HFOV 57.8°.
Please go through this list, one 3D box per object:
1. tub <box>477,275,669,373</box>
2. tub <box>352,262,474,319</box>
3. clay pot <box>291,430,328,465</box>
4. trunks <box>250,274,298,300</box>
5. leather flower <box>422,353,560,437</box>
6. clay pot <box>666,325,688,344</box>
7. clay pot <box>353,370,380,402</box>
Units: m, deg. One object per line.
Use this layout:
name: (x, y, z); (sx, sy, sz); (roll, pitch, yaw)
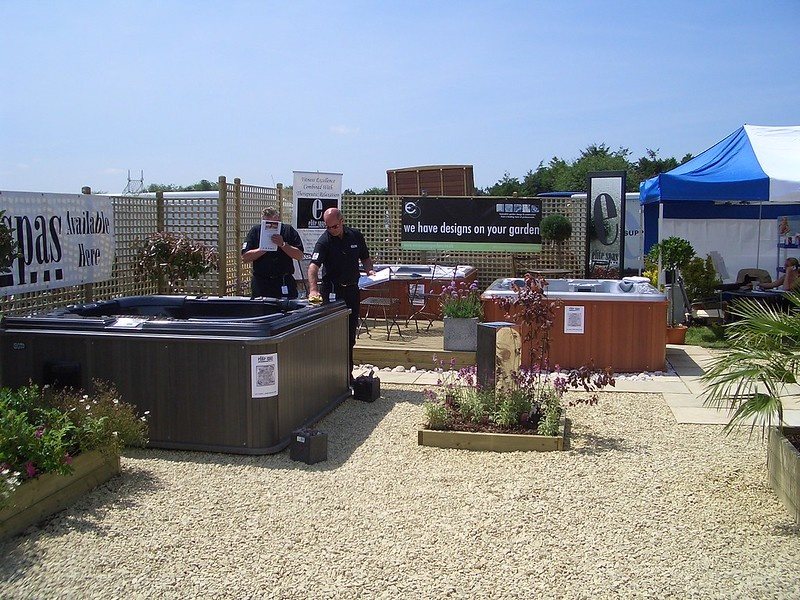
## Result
tub: (2.026, 0.309, 8.331); (1.851, 1.078, 1.014); (1, 4, 15)
tub: (0.221, -0.238, 12.031); (1.444, 1.071, 1.269); (7, 10, 15)
clay pot: (-0.742, 1.174, 5.999); (0.234, 0.258, 0.258); (1, 3, 23)
trunks: (-1.441, -0.154, 8.324); (0.526, 0.354, 0.410); (-5, -8, 5)
leather flower: (0.866, 0.875, 6.524); (1.217, 0.473, 0.823); (2, 10, 9)
clay pot: (3.975, 0.485, 10.422); (0.267, 0.222, 0.307); (1, 0, 18)
clay pot: (-0.357, 0.914, 7.713); (0.293, 0.240, 0.303); (0, 10, 0)
